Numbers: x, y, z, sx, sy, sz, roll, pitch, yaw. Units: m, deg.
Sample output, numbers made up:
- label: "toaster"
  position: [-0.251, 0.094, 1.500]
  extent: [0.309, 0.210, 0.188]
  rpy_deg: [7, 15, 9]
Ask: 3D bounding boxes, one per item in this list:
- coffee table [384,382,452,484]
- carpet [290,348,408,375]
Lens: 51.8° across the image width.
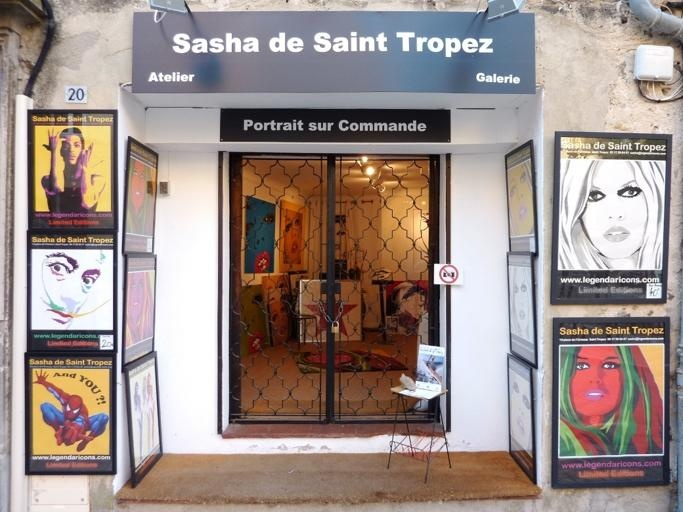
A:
- label: "coffee table"
  position: [0.580, 1.552, 6.101]
  extent: [0.383, 0.591, 0.386]
  rpy_deg: [-2, -12, 3]
- label: "carpet"
  position: [0.104, 1.075, 7.231]
  extent: [1.121, 0.193, 0.702]
  rpy_deg: [0, 0, -10]
